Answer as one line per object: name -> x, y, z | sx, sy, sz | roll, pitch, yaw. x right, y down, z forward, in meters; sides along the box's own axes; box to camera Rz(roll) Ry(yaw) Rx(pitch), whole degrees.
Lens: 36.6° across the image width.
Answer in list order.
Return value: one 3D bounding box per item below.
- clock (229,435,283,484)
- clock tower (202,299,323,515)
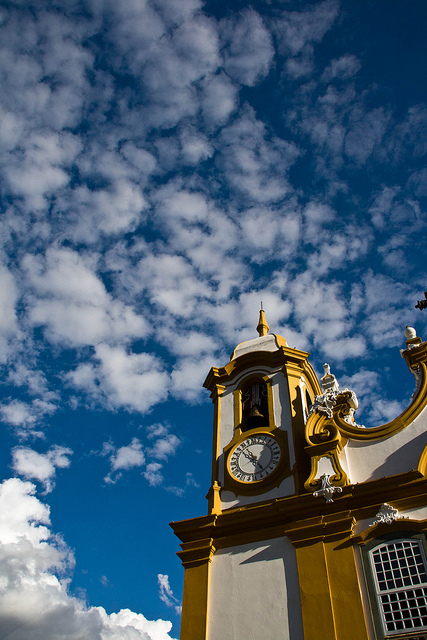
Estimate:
clock -> 1.126, 3.638, 16.562 | 1.487, 1.502, 0.198 | -6, -56, 21
clock tower -> 1.212, 2.865, 17.576 | 2.794, 5.321, 1.624 | -14, -42, 18
